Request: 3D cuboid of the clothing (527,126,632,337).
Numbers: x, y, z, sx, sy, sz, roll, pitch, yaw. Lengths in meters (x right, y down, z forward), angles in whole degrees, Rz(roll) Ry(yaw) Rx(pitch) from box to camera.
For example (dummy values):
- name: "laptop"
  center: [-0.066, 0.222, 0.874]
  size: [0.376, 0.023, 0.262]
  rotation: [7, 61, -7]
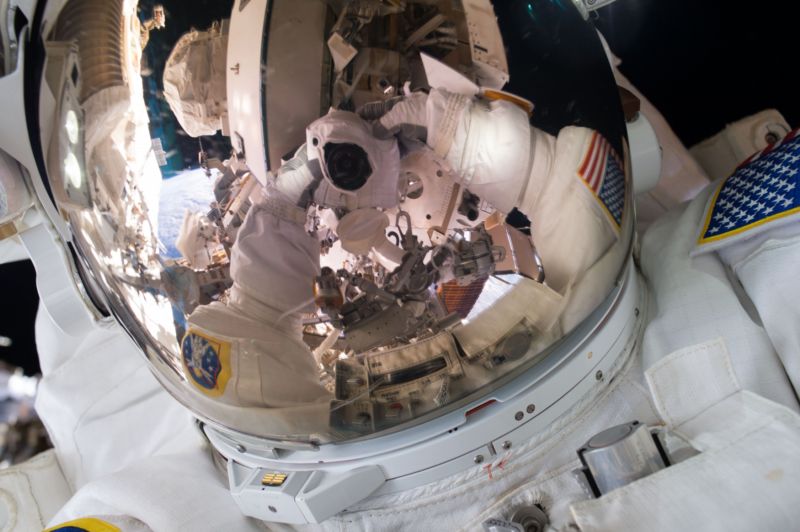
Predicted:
- name: "clothing"
  center: [0.462, -0.102, 1.453]
  size: [0.235, 0.354, 0.460]
  rotation: [-8, -40, 14]
